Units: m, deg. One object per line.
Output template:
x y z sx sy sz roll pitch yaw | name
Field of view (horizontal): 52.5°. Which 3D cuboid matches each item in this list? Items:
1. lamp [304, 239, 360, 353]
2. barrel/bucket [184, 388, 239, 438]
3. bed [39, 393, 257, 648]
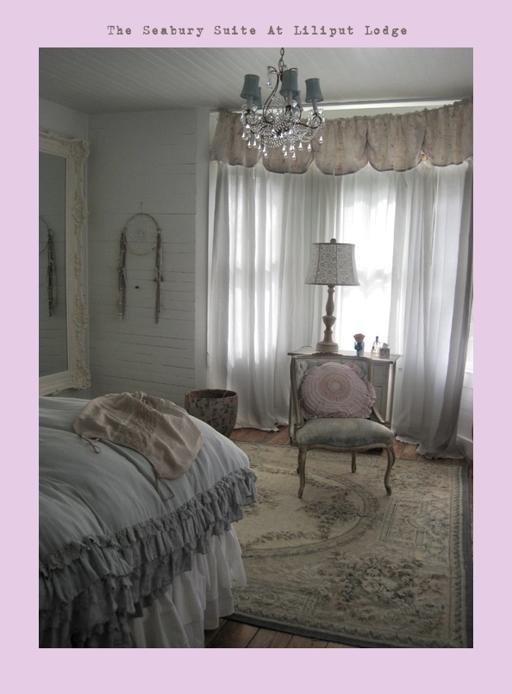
0.495 -0.334 3.383 0.308 0.723 0.511 2 7 11 | lamp
-0.274 0.381 3.207 0.272 0.328 0.322 -1 -1 -8 | barrel/bucket
-0.439 0.340 1.632 0.833 0.276 0.586 11 15 42 | bed
